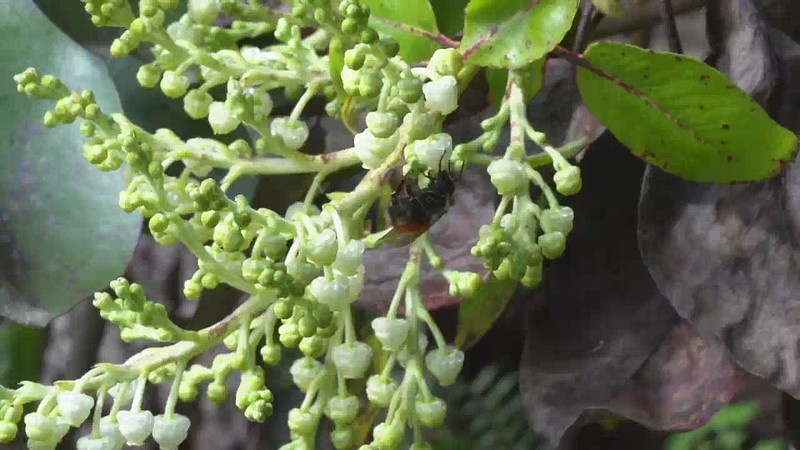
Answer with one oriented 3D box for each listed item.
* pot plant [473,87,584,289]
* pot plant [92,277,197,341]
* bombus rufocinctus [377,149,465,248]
[{"bbox_3d":[0.146,-0.036,1.406,0.098,0.256,0.083,3,6,9],"label":"pot plant"},{"bbox_3d":[-0.309,0.103,1.416,0.099,0.092,0.056,-3,16,23],"label":"pot plant"},{"bbox_3d":[0.018,-0.057,1.480,0.106,0.048,0.144,-39,1,-16],"label":"bombus rufocinctus"}]
